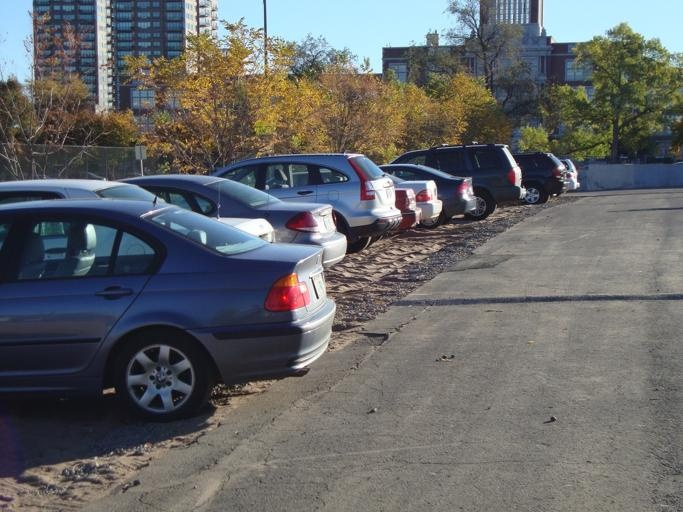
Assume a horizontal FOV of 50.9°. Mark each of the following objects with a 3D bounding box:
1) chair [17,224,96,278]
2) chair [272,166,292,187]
[{"bbox_3d":[-2.385,-0.016,6.217,0.567,0.424,0.557,1,2,11],"label":"chair"},{"bbox_3d":[-1.098,-1.426,13.238,0.242,0.401,0.105,-6,3,-6],"label":"chair"}]
